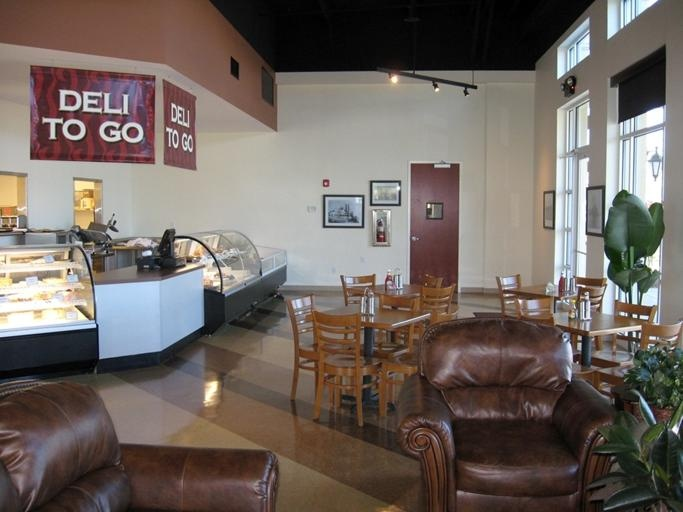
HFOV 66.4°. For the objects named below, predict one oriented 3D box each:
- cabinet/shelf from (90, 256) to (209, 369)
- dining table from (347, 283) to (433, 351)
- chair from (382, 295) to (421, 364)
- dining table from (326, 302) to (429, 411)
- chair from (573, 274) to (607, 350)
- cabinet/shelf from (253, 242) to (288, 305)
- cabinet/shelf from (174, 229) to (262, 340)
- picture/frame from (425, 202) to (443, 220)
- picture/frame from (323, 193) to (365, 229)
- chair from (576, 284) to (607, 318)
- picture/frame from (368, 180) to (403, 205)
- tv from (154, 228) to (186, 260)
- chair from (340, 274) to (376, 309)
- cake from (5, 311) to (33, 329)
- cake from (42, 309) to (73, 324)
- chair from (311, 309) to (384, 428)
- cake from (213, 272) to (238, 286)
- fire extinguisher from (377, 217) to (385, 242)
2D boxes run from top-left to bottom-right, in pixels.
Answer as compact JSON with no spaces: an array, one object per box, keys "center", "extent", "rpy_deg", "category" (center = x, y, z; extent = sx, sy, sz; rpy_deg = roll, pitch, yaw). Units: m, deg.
[{"center":[-2.468,0.638,6.776],"extent":[0.978,1.202,1.917],"rpy_deg":[6,14,11],"category":"cabinet/shelf"},{"center":[0.438,0.643,5.312],"extent":[0.714,0.743,0.750],"rpy_deg":[7,18,19],"category":"dining table"},{"center":[0.605,0.782,5.929],"extent":[0.363,0.445,0.662],"rpy_deg":[8,-23,3],"category":"chair"},{"center":[0.369,0.957,5.487],"extent":[0.954,0.994,0.998],"rpy_deg":[2,6,26],"category":"dining table"},{"center":[3.172,0.506,6.630],"extent":[0.302,0.448,0.289],"rpy_deg":[3,7,-44],"category":"chair"},{"center":[-1.291,0.273,9.864],"extent":[0.764,1.009,1.463],"rpy_deg":[2,6,13],"category":"cabinet/shelf"},{"center":[-1.928,0.363,8.279],"extent":[1.024,1.306,2.033],"rpy_deg":[2,3,11],"category":"cabinet/shelf"},{"center":[1.932,-0.944,10.852],"extent":[0.331,0.330,0.048],"rpy_deg":[1,6,5],"category":"picture/frame"},{"center":[0.074,-0.978,10.983],"extent":[0.687,0.624,0.052],"rpy_deg":[0,-1,1],"category":"picture/frame"},{"center":[2.934,0.481,6.277],"extent":[0.301,0.482,0.354],"rpy_deg":[10,-3,-6],"category":"chair"},{"center":[0.946,-1.341,10.883],"extent":[0.482,0.435,0.036],"rpy_deg":[0,-2,-1],"category":"picture/frame"},{"center":[-2.286,-0.170,6.856],"extent":[0.321,0.523,0.380],"rpy_deg":[3,6,17],"category":"tv"},{"center":[0.214,0.470,7.089],"extent":[0.424,0.751,0.491],"rpy_deg":[0,2,-15],"category":"chair"},{"center":[-3.329,0.663,5.375],"extent":[0.172,0.050,0.168],"rpy_deg":[2,5,19],"category":"cake"},{"center":[-2.994,0.636,5.543],"extent":[0.188,0.088,0.198],"rpy_deg":[3,3,27],"category":"cake"},{"center":[0.065,1.026,5.037],"extent":[0.603,1.069,0.674],"rpy_deg":[0,5,13],"category":"chair"},{"center":[-1.684,0.338,7.558],"extent":[0.136,0.238,0.554],"rpy_deg":[2,9,11],"category":"cake"},{"center":[0.834,-0.512,10.918],"extent":[0.173,0.488,0.059],"rpy_deg":[1,9,2],"category":"fire extinguisher"}]
